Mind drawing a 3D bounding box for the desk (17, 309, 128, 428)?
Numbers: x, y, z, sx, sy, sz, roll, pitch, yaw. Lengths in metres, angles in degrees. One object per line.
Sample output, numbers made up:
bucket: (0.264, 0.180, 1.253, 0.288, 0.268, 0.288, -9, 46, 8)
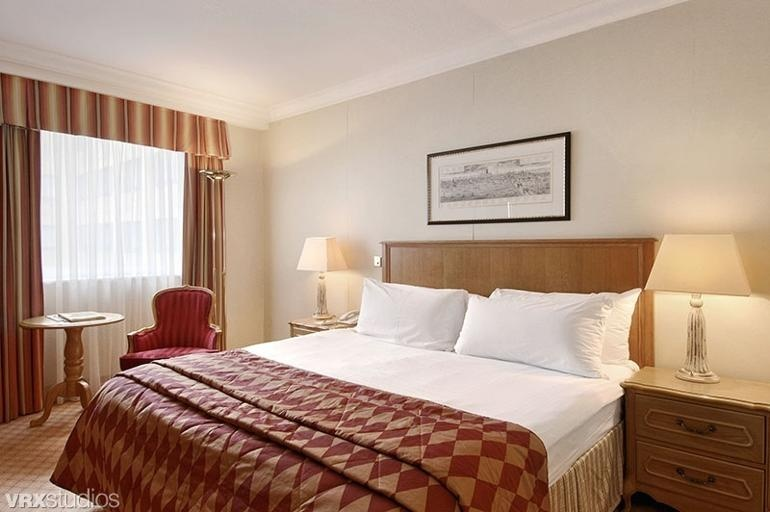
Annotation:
desk: (-3.069, 1.112, 5.067, 0.944, 0.946, 0.926, -1, -2, -37)
